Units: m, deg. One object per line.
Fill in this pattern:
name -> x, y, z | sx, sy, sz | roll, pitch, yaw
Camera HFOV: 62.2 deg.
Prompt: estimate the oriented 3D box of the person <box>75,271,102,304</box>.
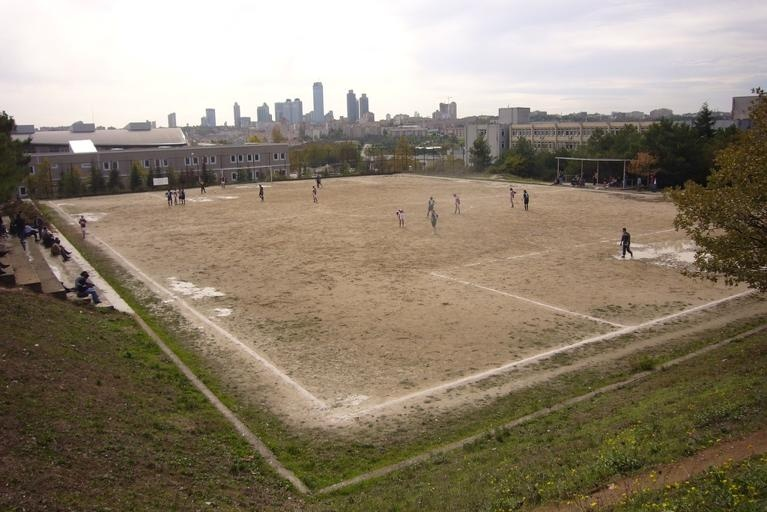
person -> -13.193, 1.436, 28.313 | 0.572, 1.294, 0.915 | 23, 35, 29
